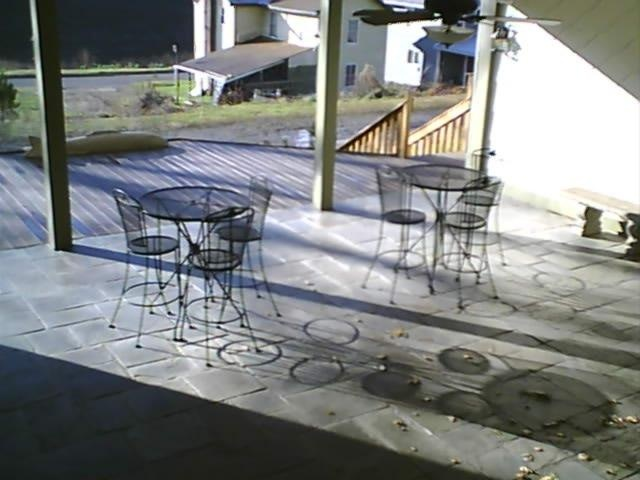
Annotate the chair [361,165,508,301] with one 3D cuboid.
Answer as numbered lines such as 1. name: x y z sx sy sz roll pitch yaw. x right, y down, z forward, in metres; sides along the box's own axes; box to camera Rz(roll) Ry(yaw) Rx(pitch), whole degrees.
1. chair: 1.365 -0.034 6.395 1.363 1.127 1.480 -18 30 -34
